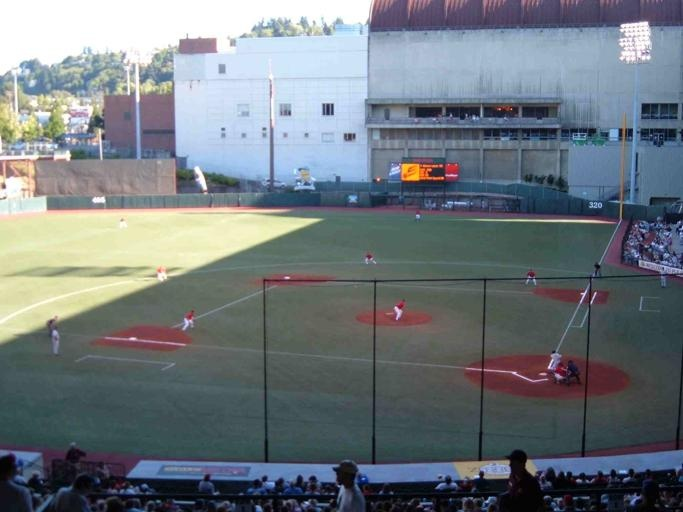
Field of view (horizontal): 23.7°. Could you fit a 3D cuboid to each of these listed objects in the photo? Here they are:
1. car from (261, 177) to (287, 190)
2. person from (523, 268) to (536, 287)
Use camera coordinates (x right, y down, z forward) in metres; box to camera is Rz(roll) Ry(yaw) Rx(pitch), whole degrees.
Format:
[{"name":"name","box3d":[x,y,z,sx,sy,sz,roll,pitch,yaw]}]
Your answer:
[{"name":"car","box3d":[-9.805,-10.663,234.931,3.049,1.379,1.947,-2,11,0]},{"name":"person","box3d":[20.280,2.193,174.511,1.573,2.481,0.772,3,45,11]}]
